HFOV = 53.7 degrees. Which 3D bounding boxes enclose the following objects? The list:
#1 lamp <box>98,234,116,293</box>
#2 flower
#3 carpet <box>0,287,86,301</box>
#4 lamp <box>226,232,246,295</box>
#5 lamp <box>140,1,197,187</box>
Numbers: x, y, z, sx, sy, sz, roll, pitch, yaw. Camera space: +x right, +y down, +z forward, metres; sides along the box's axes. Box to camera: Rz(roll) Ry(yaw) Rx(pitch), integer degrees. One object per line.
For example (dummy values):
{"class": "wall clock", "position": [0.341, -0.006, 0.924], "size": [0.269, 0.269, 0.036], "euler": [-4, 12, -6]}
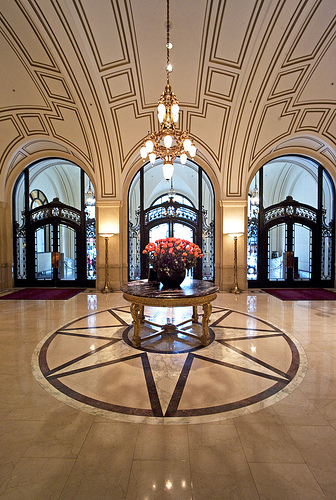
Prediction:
{"class": "lamp", "position": [-1.430, 0.291, 7.793], "size": [0.346, 1.356, 0.578], "euler": [-1, 3, -11]}
{"class": "flower", "position": [0.008, -0.009, 4.239], "size": [0.511, 0.338, 0.499], "euler": [-11, 11, -20]}
{"class": "carpet", "position": [-2.803, 0.982, 7.535], "size": [1.639, 0.080, 1.696], "euler": [-1, 4, 1]}
{"class": "lamp", "position": [1.544, 0.289, 7.685], "size": [0.317, 1.366, 0.589], "euler": [0, 3, 11]}
{"class": "lamp", "position": [0.006, -2.226, 5.402], "size": [0.791, 2.526, 2.582], "euler": [0, 4, 0]}
